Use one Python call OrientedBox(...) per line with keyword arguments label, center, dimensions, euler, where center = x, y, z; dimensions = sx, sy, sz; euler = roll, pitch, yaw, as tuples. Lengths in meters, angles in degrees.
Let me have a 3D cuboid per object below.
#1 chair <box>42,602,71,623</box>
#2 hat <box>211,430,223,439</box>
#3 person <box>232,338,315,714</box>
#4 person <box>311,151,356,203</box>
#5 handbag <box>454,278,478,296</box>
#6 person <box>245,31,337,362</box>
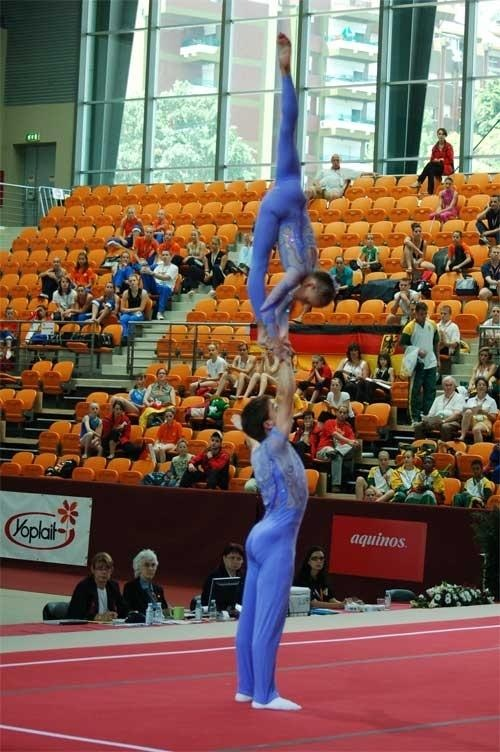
OrientedBox(label="chair", center=(-1.330, 1.607, 5.753), dimensions=(0.199, 0.111, 0.187), euler=(1, -16, 9))
OrientedBox(label="hat", center=(-0.364, 0.653, 9.235), dimensions=(0.078, 0.101, 0.080), euler=(-4, 27, 11))
OrientedBox(label="person", center=(0.073, 0.575, 3.161), dimensions=(0.264, 1.338, 0.356), euler=(2, 2, 0))
OrientedBox(label="person", center=(1.563, -3.718, 16.129), dimensions=(0.656, 0.543, 1.099), euler=(18, 14, 11))
OrientedBox(label="handbag", center=(2.943, -1.194, 11.444), dimensions=(0.320, 0.229, 0.299), euler=(1, 13, 31))
OrientedBox(label="person", center=(0.164, -0.695, 3.150), dimensions=(0.322, 1.233, 0.383), euler=(2, 2, 4))
